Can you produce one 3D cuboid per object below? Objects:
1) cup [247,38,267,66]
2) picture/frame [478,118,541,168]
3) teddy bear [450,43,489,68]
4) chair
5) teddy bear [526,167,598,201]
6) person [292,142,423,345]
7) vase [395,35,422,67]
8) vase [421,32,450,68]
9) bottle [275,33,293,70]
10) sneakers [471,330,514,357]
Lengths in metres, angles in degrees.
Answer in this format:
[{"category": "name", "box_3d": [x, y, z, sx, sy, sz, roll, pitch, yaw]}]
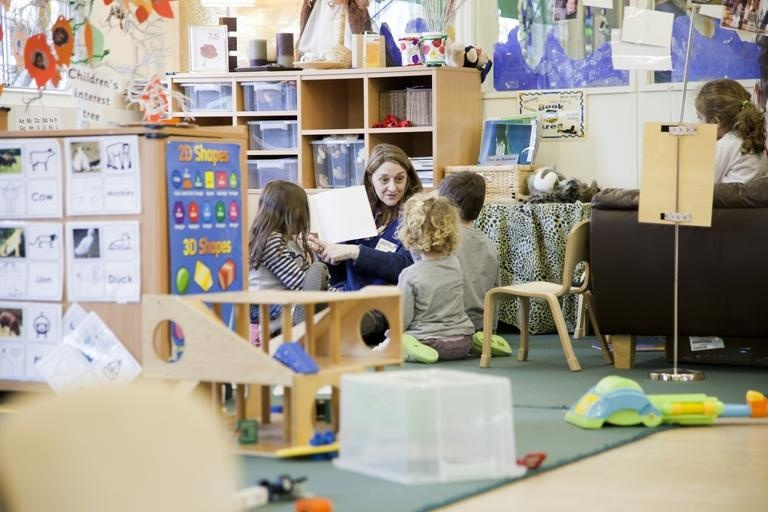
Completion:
[{"category": "cup", "box_3d": [-0.796, -1.287, 5.009, 0.104, 0.181, 0.118, 0, 8, -11]}, {"category": "picture/frame", "box_3d": [0.757, -0.700, 4.786, 0.344, 0.291, 0.246, 3, 8, 14]}, {"category": "teddy bear", "box_3d": [0.529, -1.230, 4.879, 0.112, 0.142, 0.343, 8, 10, 37]}, {"category": "chair", "box_3d": [0.721, 0.163, 3.473, 0.442, 0.639, 0.419, 0, 0, 36]}, {"category": "teddy bear", "box_3d": [1.014, -0.403, 4.483, 0.414, 0.182, 0.389, 2, 8, 5]}, {"category": "person", "box_3d": [-0.087, -0.085, 3.828, 0.600, 0.846, 0.570, 7, -2, -10]}, {"category": "vase", "box_3d": [0.164, -1.246, 4.795, 0.090, 0.186, 0.150, -4, 10, -34]}, {"category": "vase", "box_3d": [0.299, -1.220, 4.756, 0.187, 0.203, 0.201, 0, 1, 22]}, {"category": "bottle", "box_3d": [-0.628, -1.300, 5.006, 0.109, 0.218, 0.148, 0, 8, -9]}, {"category": "sneakers", "box_3d": [0.496, 0.407, 3.602, 0.125, 0.055, 0.152, 0, 19, -39]}]
